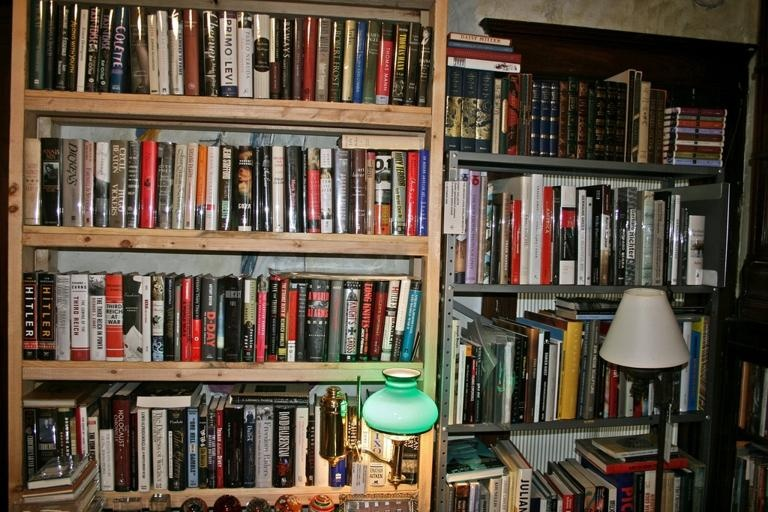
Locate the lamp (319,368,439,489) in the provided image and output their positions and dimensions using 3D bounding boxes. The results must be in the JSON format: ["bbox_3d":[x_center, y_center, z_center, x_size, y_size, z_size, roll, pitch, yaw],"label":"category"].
[{"bbox_3d":[-0.008,0.644,3.789,0.586,0.512,0.361,-2,-5,24],"label":"lamp"}]
